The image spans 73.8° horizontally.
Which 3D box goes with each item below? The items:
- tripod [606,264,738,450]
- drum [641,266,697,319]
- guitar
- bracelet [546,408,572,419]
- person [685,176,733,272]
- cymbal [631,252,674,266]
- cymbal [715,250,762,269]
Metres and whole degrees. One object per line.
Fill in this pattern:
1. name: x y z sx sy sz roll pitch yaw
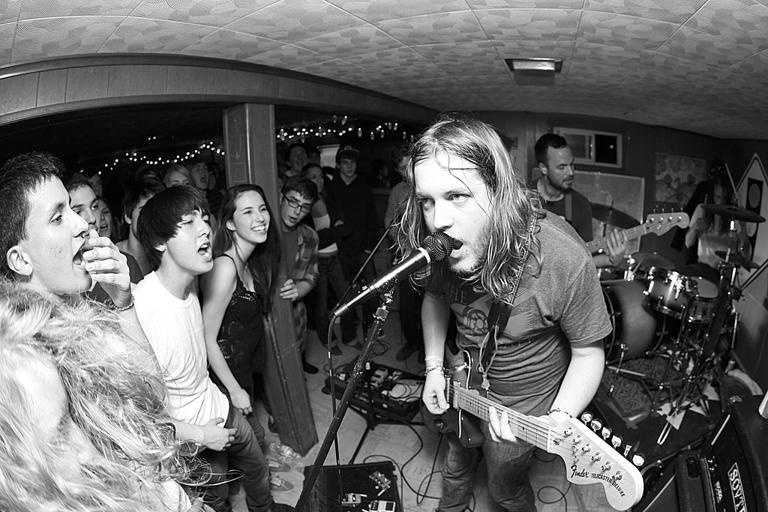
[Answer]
1. tripod: 2.231 0.783 3.992 0.731 0.741 0.829 18 -36 44
2. drum: 2.264 0.270 4.137 0.358 0.358 0.368 19 9 -4
3. guitar: 0.525 0.765 2.578 0.166 0.688 1.358 10 5 -24
4. bracelet: 0.795 0.707 2.313 0.105 0.032 0.097 6 0 22
5. person: 3.406 -0.382 5.332 0.391 0.986 0.287 13 33 32
6. cymbal: 2.368 0.029 4.558 0.213 0.055 0.228 4 23 6
7. cymbal: 2.760 0.021 3.957 0.298 0.099 0.345 6 0 13
